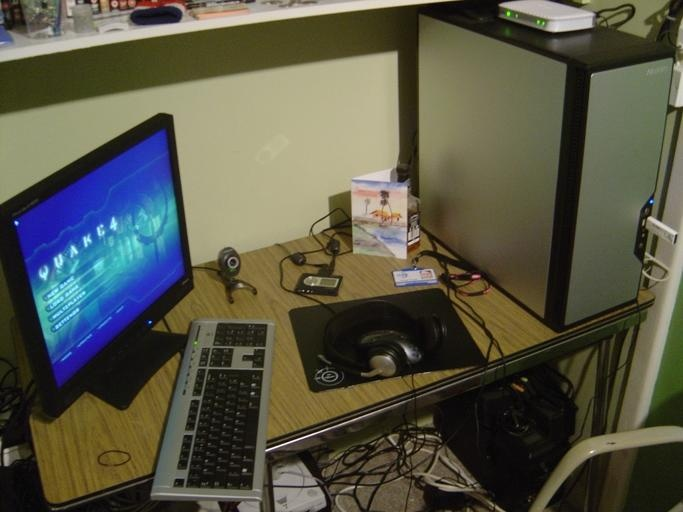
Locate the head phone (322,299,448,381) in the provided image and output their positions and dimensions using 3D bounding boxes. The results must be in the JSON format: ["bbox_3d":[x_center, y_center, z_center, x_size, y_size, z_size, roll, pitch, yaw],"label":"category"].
[{"bbox_3d":[0.116,0.201,1.415,0.271,0.102,0.310,-25,21,-17],"label":"head phone"}]
